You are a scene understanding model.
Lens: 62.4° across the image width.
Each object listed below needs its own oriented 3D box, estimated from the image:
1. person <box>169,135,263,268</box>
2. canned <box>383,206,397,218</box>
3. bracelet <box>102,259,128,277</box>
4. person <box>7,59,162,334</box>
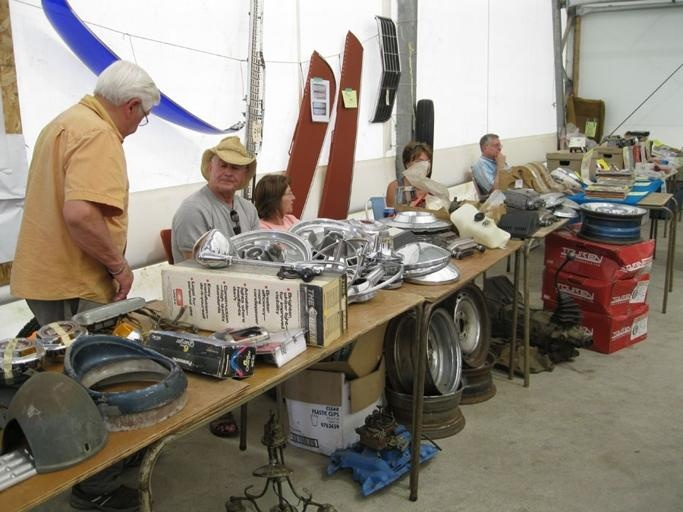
[{"bbox_3d":[-0.723,-0.301,3.163,0.407,0.724,0.644,14,24,22],"label":"person"},{"bbox_3d":[0.349,-0.317,4.089,0.090,0.099,0.093,-3,11,-8],"label":"canned"},{"bbox_3d":[-1.003,0.051,2.503,0.078,0.020,0.077,4,41,31],"label":"bracelet"},{"bbox_3d":[-1.121,-0.258,2.445,0.694,1.142,0.290,-5,11,-17],"label":"person"}]
